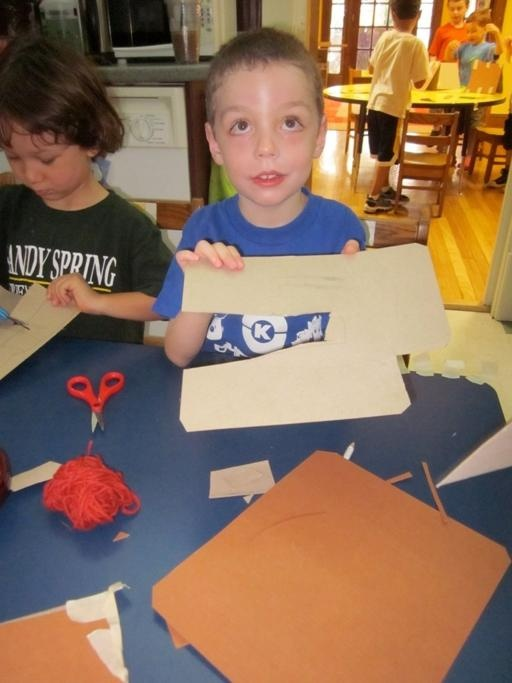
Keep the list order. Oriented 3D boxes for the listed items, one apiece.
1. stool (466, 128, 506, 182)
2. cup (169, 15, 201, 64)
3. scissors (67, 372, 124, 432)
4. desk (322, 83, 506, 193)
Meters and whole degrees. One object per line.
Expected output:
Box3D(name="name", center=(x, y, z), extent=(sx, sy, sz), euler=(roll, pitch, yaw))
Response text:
Box3D(name="stool", center=(1.843, -1.492, 4.403), extent=(0.328, 0.423, 0.302), euler=(3, 53, 21))
Box3D(name="cup", center=(-0.197, -0.975, 1.773), extent=(0.124, 0.154, 0.110), euler=(0, 32, 0))
Box3D(name="scissors", center=(-0.196, 0.071, 0.673), extent=(0.046, 0.012, 0.079), euler=(-1, 29, -18))
Box3D(name="desk", center=(1.178, -1.774, 4.475), extent=(1.057, 0.659, 1.089), euler=(-1, 44, 3))
